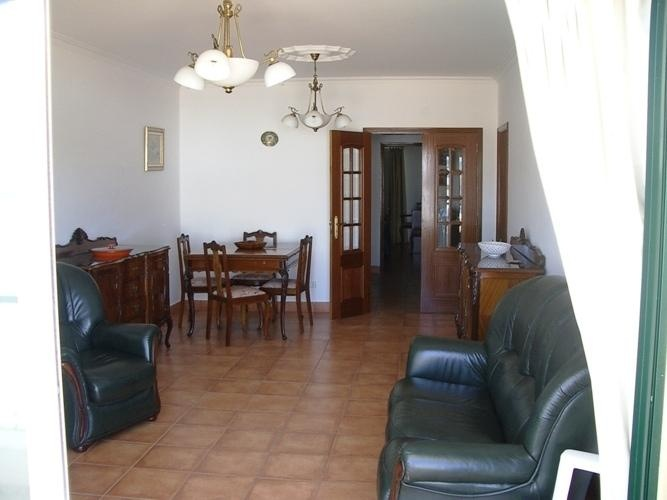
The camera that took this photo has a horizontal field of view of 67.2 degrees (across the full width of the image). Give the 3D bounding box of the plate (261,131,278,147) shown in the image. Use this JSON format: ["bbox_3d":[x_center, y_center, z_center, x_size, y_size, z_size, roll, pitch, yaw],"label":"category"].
[{"bbox_3d":[-0.836,-1.469,6.678,0.233,0.195,0.067,-1,8,-8],"label":"plate"}]

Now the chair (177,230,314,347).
[{"bbox_3d":[-0.865,0.354,5.917,1.199,1.007,1.258,-1,1,6],"label":"chair"}]

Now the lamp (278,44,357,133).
[{"bbox_3d":[-0.172,-1.724,5.366,0.816,0.816,0.803,-2,15,-5],"label":"lamp"}]
